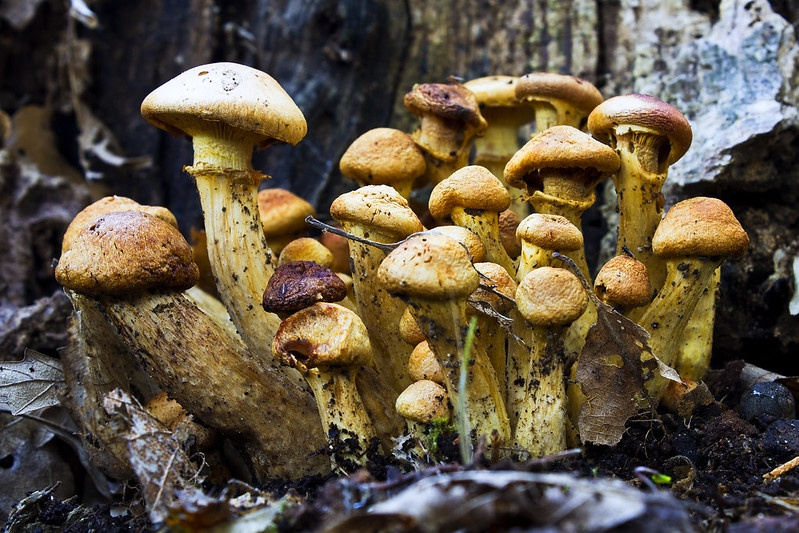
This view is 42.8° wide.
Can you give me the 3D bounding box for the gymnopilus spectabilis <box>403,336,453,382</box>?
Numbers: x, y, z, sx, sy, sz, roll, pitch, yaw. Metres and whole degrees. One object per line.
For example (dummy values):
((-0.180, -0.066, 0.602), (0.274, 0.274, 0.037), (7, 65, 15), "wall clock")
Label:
((0.248, 0.685, 7.405), (0.389, 0.223, 0.357), (0, 50, 27), "gymnopilus spectabilis")
